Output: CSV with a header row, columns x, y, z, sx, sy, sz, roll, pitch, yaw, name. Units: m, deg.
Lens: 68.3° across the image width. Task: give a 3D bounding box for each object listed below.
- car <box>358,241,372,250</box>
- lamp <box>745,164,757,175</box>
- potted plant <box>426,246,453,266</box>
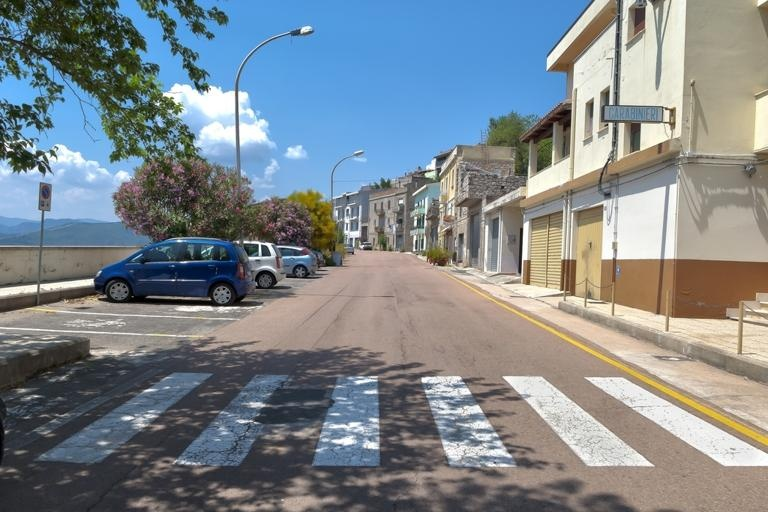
x,y,z,sx,sy,sz,roll,pitch,yaw,name
-3.543,-1.883,110.969,1.680,1.488,3.092,-1,4,-17,car
9.763,-2.264,14.987,0.327,0.286,0.132,-1,0,-12,lamp
4.594,0.000,47.392,1.582,1.244,1.625,-2,-2,35,potted plant
